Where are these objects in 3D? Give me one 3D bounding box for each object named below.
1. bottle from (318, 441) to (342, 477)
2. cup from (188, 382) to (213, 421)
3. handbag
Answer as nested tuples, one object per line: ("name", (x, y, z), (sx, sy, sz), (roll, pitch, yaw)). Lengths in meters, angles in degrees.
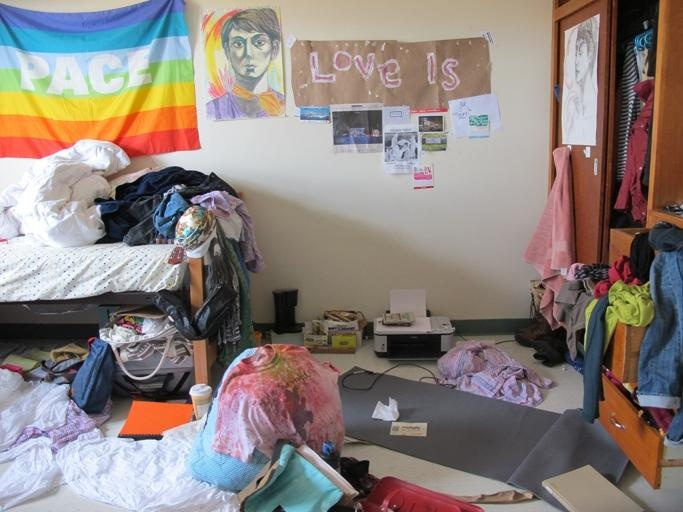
("bottle", (-0.063, 0.973, 2.414), (0.033, 0.145, 0.142), (-18, 16, 16))
("cup", (-0.790, 0.852, 2.923), (0.157, 0.186, 0.168), (-2, -6, 0))
("handbag", (-1.532, 0.755, 3.124), (0.159, 0.288, 0.378), (11, -24, -22))
